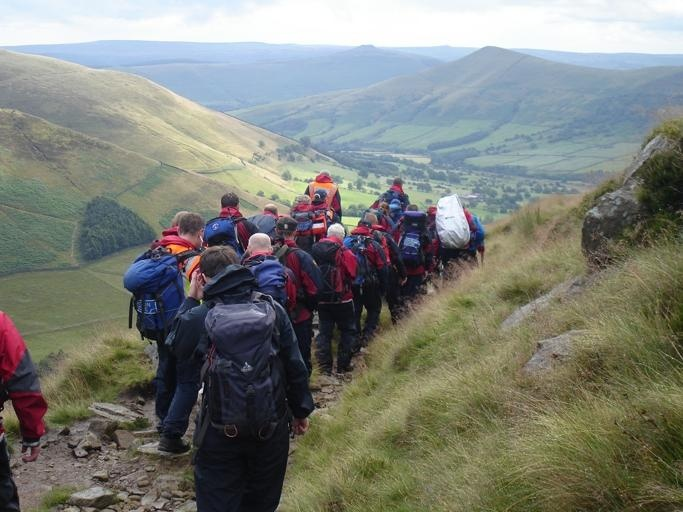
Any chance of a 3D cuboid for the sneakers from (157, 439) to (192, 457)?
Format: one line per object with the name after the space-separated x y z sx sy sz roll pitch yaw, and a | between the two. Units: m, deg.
-2.220 2.569 8.086 0.510 0.229 0.185 8 1 -35 | sneakers
